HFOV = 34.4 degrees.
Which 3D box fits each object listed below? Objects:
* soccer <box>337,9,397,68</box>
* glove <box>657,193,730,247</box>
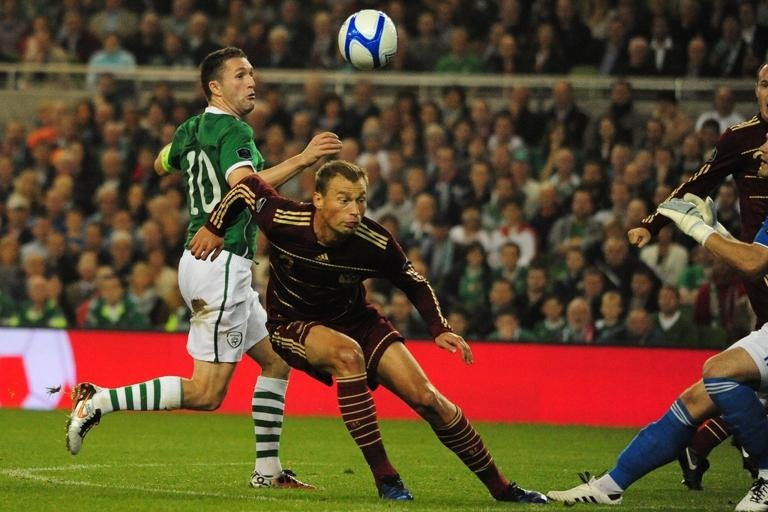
[{"bbox_3d":[-0.174,-2.518,14.688,0.670,0.674,0.666,0,0,7],"label":"soccer"},{"bbox_3d":[3.203,-0.391,12.945,0.531,0.599,1.092,0,-2,-8],"label":"glove"}]
